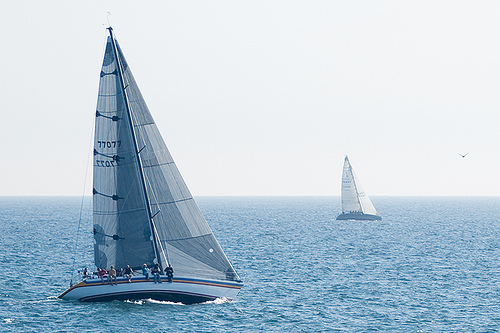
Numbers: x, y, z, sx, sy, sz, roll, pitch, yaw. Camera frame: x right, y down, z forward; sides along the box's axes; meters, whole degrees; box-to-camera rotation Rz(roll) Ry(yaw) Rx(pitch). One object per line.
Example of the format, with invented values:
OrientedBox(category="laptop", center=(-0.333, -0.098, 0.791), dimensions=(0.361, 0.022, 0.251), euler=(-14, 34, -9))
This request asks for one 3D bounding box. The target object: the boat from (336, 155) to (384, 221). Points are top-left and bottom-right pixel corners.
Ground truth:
OrientedBox(category="boat", center=(27.132, 6.099, 152.010), dimensions=(7.321, 14.407, 14.935), euler=(-4, -13, 16))
